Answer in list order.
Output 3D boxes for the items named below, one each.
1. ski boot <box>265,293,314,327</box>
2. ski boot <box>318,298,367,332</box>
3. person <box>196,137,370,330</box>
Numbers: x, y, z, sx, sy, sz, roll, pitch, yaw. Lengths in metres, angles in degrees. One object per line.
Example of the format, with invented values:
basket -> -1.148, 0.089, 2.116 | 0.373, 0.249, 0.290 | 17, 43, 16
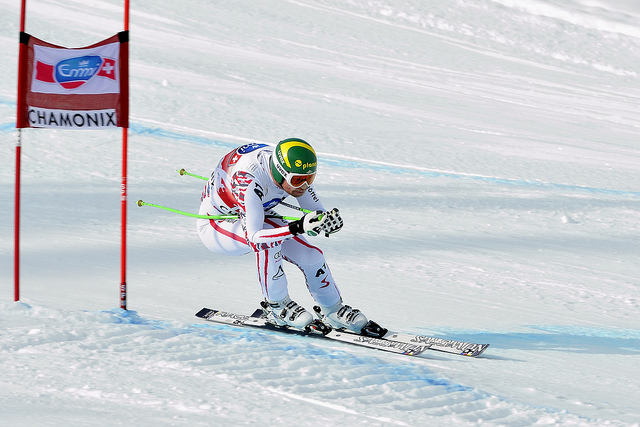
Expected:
ski boot -> -0.284, 0.932, 6.554 | 0.268, 0.272, 0.674 | -15, 9, -37
ski boot -> 0.233, 1.008, 6.633 | 0.757, 0.152, 0.283 | 1, -29, 33
person -> -0.544, 0.182, 6.544 | 1.863, 1.434, 0.882 | 7, 2, 16
